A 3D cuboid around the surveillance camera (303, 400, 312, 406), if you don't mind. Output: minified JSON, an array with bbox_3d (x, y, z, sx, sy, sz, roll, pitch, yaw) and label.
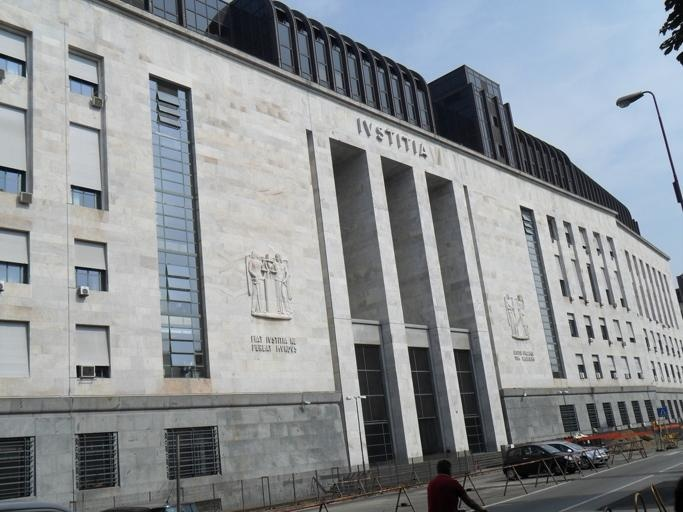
[{"bbox_3d":[-2.368,10.206,38.811,0.195,0.275,0.682,-5,-2,33],"label":"surveillance camera"}]
